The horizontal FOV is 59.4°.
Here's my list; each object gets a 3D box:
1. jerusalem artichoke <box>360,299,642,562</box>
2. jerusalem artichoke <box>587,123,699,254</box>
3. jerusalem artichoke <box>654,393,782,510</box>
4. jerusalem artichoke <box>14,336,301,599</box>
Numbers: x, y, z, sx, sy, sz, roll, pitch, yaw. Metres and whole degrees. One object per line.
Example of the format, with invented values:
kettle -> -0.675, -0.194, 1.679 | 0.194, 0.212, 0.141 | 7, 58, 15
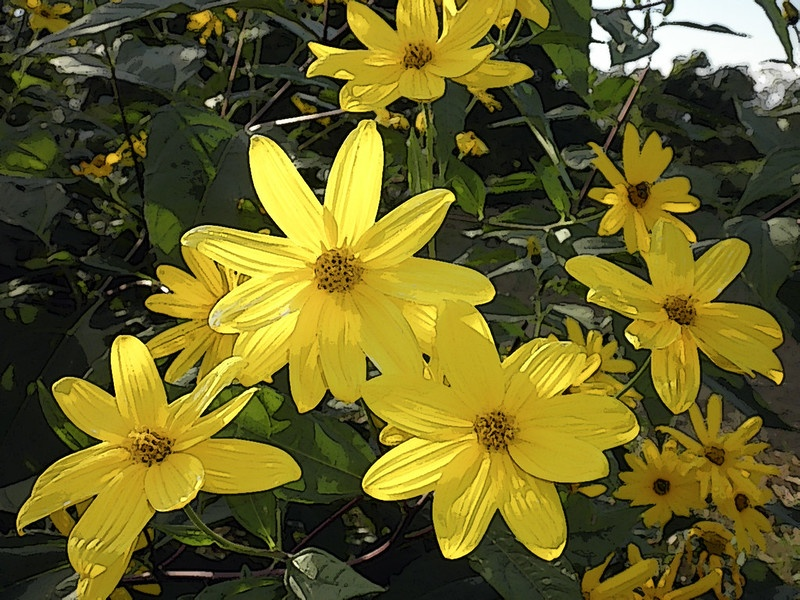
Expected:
jerusalem artichoke -> 0.073, 0.104, 0.563 | 0.178, 0.138, 0.186 | 29, 56, 27
jerusalem artichoke -> 0.314, -0.146, 0.908 | 0.177, 0.160, 0.049 | 28, 74, 38
jerusalem artichoke -> 0.466, 0.212, 1.044 | 0.193, 0.056, 0.187 | 25, 71, 1
jerusalem artichoke -> -0.215, 0.130, 0.573 | 0.195, 0.117, 0.175 | -32, 53, -23
